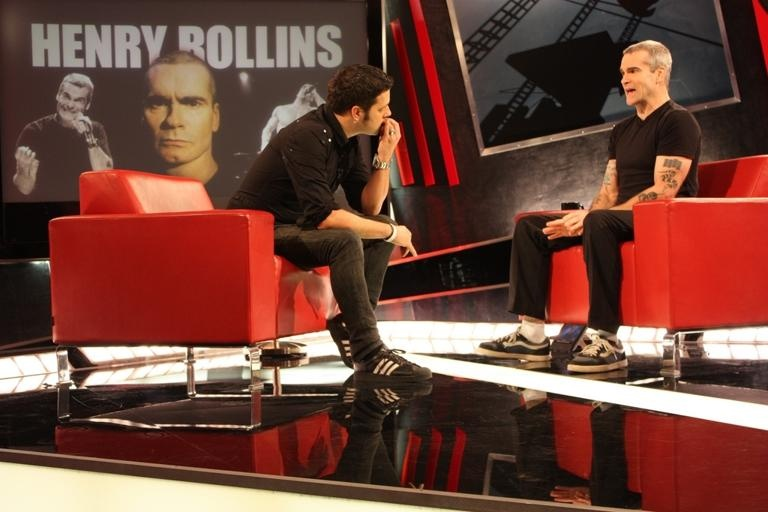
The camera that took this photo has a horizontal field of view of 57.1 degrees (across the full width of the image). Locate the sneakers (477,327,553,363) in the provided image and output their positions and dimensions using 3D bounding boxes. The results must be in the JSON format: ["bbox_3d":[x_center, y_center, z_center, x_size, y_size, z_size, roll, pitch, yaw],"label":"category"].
[{"bbox_3d":[0.729,0.505,4.020,0.440,0.158,0.151,3,0,18],"label":"sneakers"}]

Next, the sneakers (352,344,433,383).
[{"bbox_3d":[0.031,0.527,3.461,0.400,0.153,0.153,-1,0,-4],"label":"sneakers"}]

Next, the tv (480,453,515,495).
[{"bbox_3d":[0.402,0.758,2.480,0.104,0.046,0.244,-1,8,14],"label":"tv"}]

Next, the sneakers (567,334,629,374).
[{"bbox_3d":[1.097,0.504,3.674,0.376,0.153,0.165,1,-4,-36],"label":"sneakers"}]

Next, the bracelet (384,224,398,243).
[{"bbox_3d":[0.043,-0.110,3.555,0.061,0.083,0.091,9,-4,-1],"label":"bracelet"}]

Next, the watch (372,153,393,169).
[{"bbox_3d":[-0.018,-0.506,3.839,0.094,0.080,0.090,2,7,1],"label":"watch"}]

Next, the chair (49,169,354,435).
[{"bbox_3d":[-0.822,0.180,3.606,1.045,1.060,1.290,0,0,17],"label":"chair"}]
